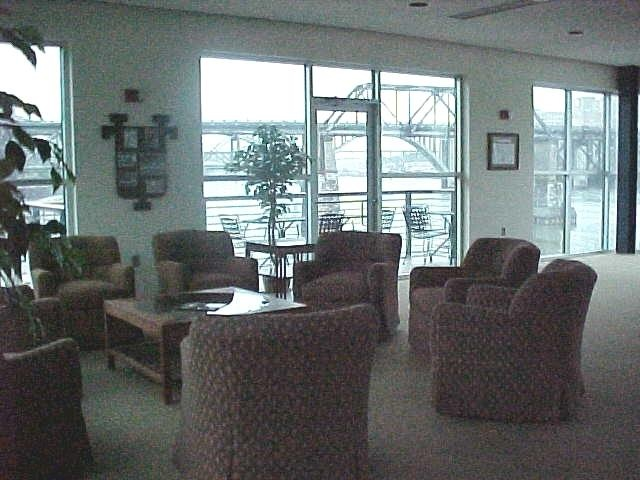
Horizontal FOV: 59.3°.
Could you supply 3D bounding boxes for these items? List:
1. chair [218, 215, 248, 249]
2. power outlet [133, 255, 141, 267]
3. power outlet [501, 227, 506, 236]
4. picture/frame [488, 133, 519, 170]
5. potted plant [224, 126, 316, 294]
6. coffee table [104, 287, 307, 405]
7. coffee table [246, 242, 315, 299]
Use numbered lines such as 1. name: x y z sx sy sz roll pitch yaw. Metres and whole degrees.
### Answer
1. chair: -0.368 -0.036 2.443 0.109 0.185 0.124 4 15 20
2. power outlet: -0.800 0.088 2.448 0.045 0.044 0.010 -1 1 -32
3. power outlet: 1.994 -0.097 6.102 0.059 0.082 0.111 1 6 18
4. picture/frame: 1.972 -0.955 6.065 0.445 0.426 0.039 -4 6 -24
5. potted plant: -0.228 -0.128 2.494 0.348 0.743 0.174 -2 6 -10
6. coffee table: -0.594 0.386 2.552 0.625 0.278 0.587 0 2 -37
7. coffee table: -0.191 0.117 2.572 0.265 0.251 0.260 1 1 -37
